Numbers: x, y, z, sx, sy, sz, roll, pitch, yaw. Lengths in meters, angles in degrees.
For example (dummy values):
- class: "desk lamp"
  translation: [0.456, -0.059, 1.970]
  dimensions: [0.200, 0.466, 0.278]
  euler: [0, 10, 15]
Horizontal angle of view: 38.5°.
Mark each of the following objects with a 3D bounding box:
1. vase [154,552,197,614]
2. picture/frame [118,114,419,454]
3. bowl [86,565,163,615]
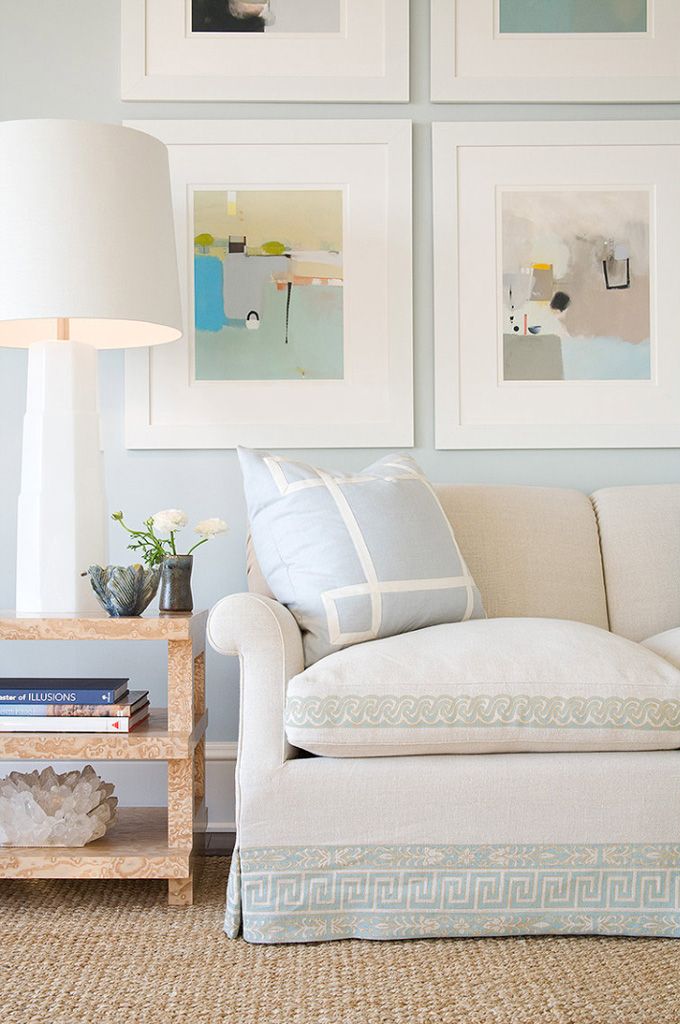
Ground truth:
- class: "vase"
  translation: [-0.312, 0.145, 1.852]
  dimensions: [0.090, 0.151, 0.095]
  euler: [0, -3, -1]
- class: "picture/frame"
  translation: [-0.197, -0.545, 2.359]
  dimensions: [0.816, 0.984, 0.041]
  euler: [0, 1, 1]
- class: "bowl"
  translation: [-0.411, 0.155, 1.820]
  dimensions: [0.101, 0.073, 0.100]
  euler: [-3, -7, 0]
